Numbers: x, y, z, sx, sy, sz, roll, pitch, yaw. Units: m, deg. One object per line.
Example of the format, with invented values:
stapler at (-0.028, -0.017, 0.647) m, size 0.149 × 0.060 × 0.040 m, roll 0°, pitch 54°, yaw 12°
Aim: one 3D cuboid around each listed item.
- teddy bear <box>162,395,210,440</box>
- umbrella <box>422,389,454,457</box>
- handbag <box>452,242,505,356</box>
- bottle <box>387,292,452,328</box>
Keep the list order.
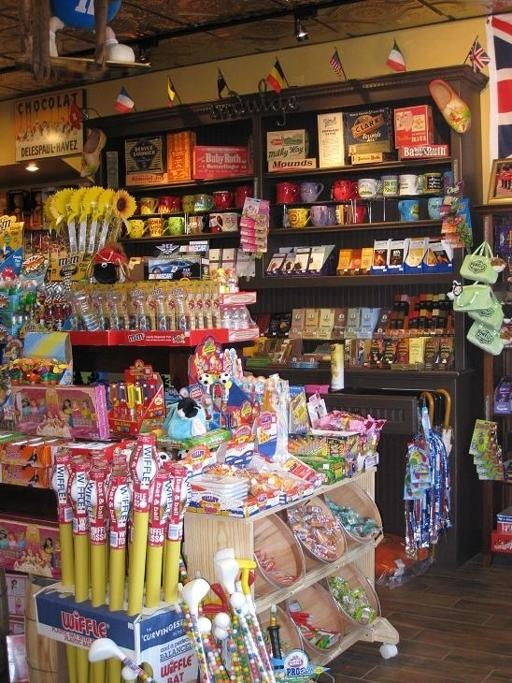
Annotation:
teddy bear at (-0.216, 0.232, 1.844) m, size 0.130 × 0.122 × 0.097 m, roll 0°, pitch 21°, yaw 2°
umbrella at (1.060, 0.473, 3.461) m, size 0.102 × 0.385 × 0.159 m, roll -6°, pitch -6°, yaw 44°
handbag at (1.300, -0.241, 3.505) m, size 0.284 × 0.644 × 0.320 m, roll -3°, pitch -5°, yaw 22°
bottle at (1.050, -0.184, 3.858) m, size 0.443 × 0.265 × 0.174 m, roll -5°, pitch -5°, yaw 39°
